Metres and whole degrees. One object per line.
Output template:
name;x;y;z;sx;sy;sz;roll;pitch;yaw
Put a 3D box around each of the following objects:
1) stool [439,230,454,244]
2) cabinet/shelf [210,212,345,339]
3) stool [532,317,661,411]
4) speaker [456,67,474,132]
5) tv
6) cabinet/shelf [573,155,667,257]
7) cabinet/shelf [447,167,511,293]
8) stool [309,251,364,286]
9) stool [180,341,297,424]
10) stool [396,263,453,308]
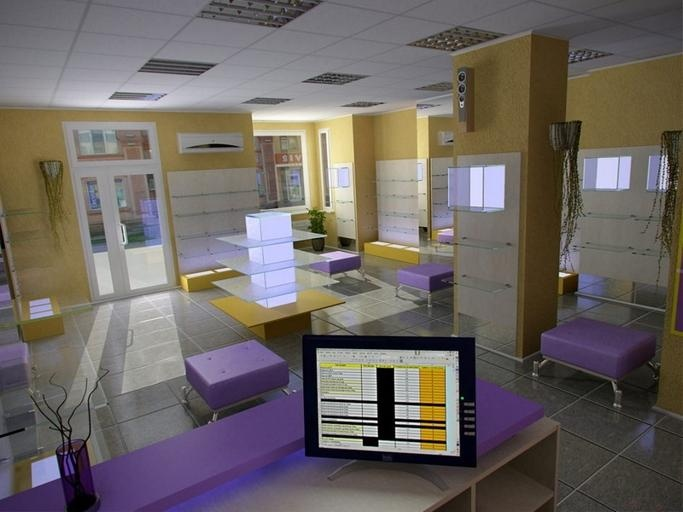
stool;2.020;-0.386;9.074;0.389;0.180;0.390;10;15;41
cabinet/shelf;-1.023;0.205;6.893;1.947;1.935;1.919;-10;17;-37
stool;2.871;1.017;5.191;0.995;0.487;0.979;-10;16;-41
speaker;1.529;-1.937;5.806;0.205;0.750;0.108;-2;13;12
tv;0.285;0.862;2.631;0.965;0.642;0.099;0;1;12
cabinet/shelf;4.216;-0.793;7.057;0.507;1.489;1.514;-8;13;-39
cabinet/shelf;1.739;-0.378;5.977;0.259;1.543;0.929;-12;15;-31
stool;-0.196;0.185;9.566;0.719;0.350;0.704;-12;16;-40
stool;-1.172;1.382;5.297;0.898;0.571;0.792;-11;13;-31
stool;1.464;0.353;8.087;0.819;0.496;0.810;-16;21;-42
